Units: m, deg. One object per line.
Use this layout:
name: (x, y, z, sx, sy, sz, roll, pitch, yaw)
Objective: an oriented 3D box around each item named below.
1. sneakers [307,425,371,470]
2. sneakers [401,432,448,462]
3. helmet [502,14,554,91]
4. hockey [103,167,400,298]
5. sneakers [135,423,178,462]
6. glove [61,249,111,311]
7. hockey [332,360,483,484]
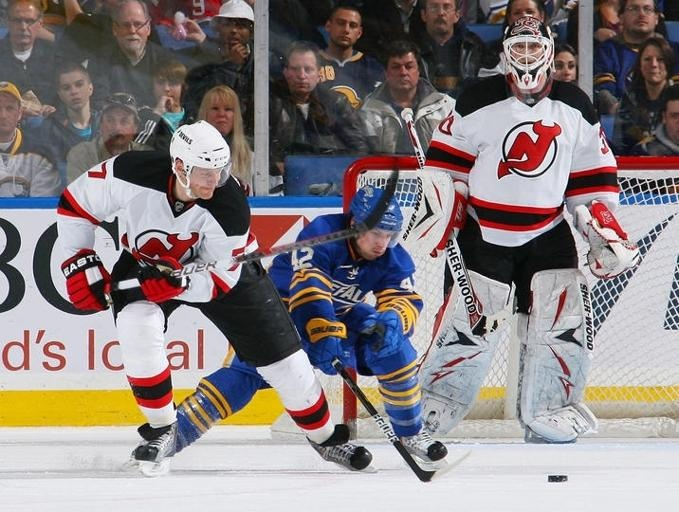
sneakers: (-0.017, 0.877, 5.251, 0.131, 0.167, 0.396, -39, 16, -24)
sneakers: (0.390, 0.866, 5.324, 0.093, 0.116, 0.280, -34, 26, -32)
helmet: (0.894, -0.945, 5.287, 0.245, 0.308, 0.326, 2, 51, 14)
hockey: (-0.417, -0.094, 5.241, 1.406, 0.237, 0.145, -20, 29, -3)
sneakers: (-0.822, 0.834, 5.061, 0.208, 0.165, 0.128, -5, 14, -9)
glove: (-1.134, 0.095, 5.109, 0.215, 0.269, 0.123, -15, 1, -7)
hockey: (0.338, 0.786, 5.352, 0.116, 0.656, 0.066, -41, -11, -9)
